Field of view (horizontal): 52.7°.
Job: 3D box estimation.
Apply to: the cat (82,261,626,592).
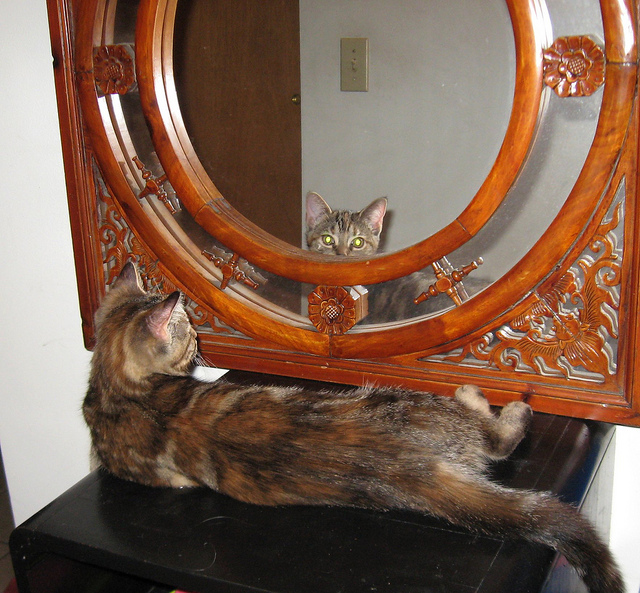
[{"bbox_3d":[-0.032,0.190,0.992,0.676,0.454,0.218,-1,-45,10],"label":"cat"}]
